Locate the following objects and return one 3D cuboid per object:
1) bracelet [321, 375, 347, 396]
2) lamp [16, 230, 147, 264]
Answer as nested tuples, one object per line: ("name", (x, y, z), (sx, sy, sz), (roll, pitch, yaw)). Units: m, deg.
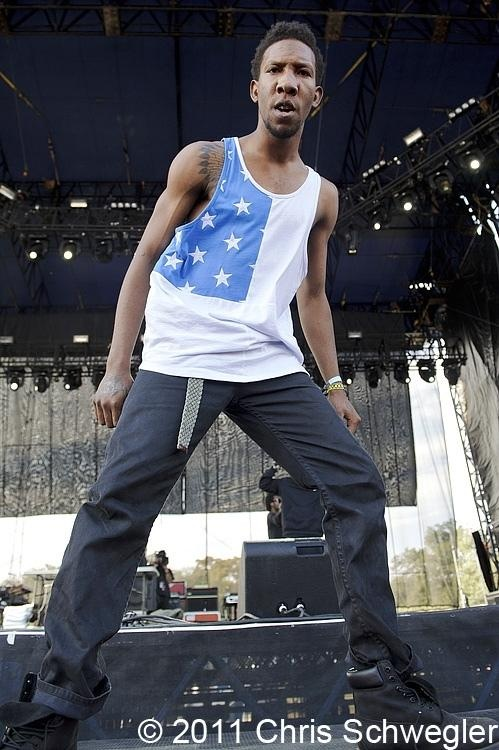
("bracelet", (0.196, 0.023, 1.499), (0.056, 0.055, 0.037), (-1, -12, -9))
("lamp", (-2.312, -1.816, 9.055), (1.313, 0.368, 0.525), (0, -38, -8))
